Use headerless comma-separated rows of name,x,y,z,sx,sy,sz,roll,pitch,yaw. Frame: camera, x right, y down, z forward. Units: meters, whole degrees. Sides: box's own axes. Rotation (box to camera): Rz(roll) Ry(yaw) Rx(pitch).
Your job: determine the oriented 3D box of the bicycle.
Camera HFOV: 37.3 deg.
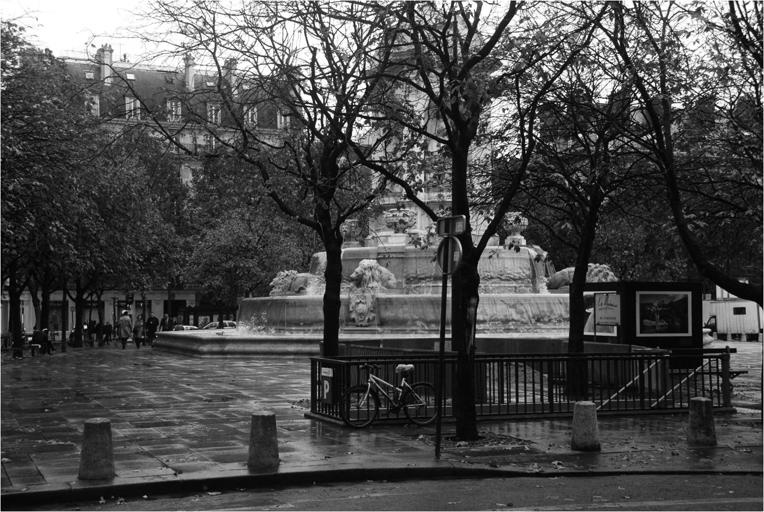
bicycle,0.147,3.274,26.704,2.239,1.482,1.380,1,-5,-4
